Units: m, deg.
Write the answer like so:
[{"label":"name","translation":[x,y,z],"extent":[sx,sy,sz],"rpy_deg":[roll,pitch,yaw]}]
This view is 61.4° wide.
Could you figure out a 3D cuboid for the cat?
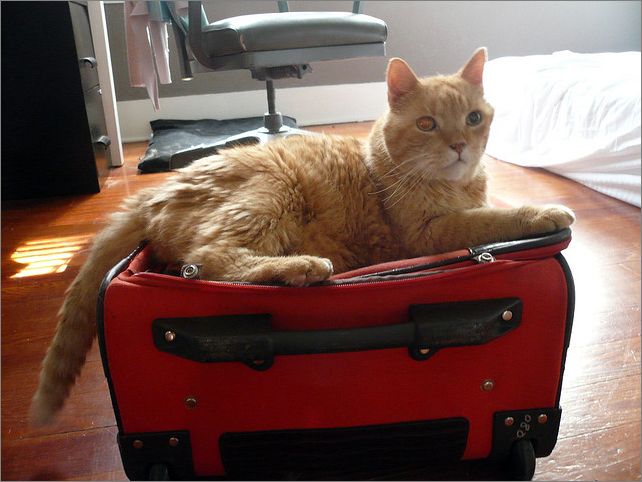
[{"label":"cat","translation":[-0.067,-0.080,1.222],"extent":[1.043,0.533,0.860],"rpy_deg":[-10,-2,24]}]
